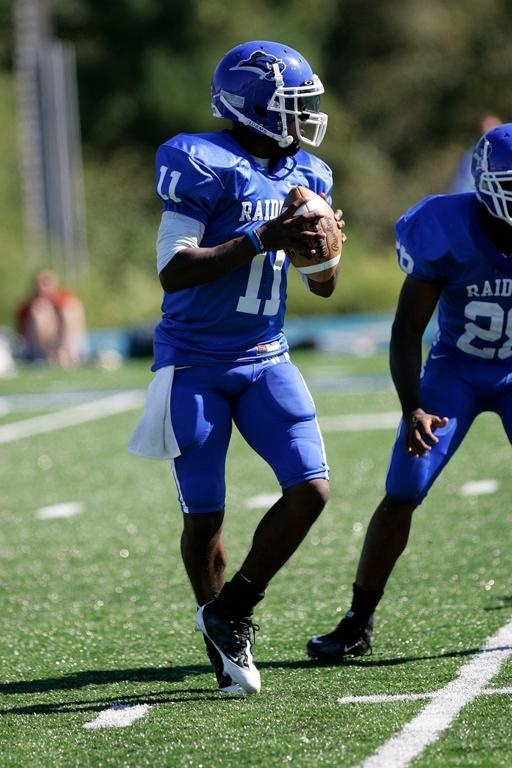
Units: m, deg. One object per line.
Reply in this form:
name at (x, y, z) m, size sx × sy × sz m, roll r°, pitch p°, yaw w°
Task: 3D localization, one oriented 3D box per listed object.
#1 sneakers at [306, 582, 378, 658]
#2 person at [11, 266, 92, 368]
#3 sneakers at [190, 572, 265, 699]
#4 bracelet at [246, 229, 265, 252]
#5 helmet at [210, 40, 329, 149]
sneakers at (0.247, 0.674, 2.648) m, size 0.266 × 0.208 × 0.101 m, roll 10°, pitch 1°, yaw -43°
person at (-1.815, -0.593, 8.252) m, size 0.624 × 0.872 × 0.379 m, roll -1°, pitch 11°, yaw 1°
sneakers at (-0.047, 0.622, 2.392) m, size 0.147 × 0.217 × 0.221 m, roll -5°, pitch -3°, yaw -18°
bracelet at (-0.003, -0.353, 2.297) m, size 0.024 × 0.051 × 0.049 m, roll -30°, pitch 7°, yaw -15°
helmet at (0.043, -0.787, 2.567) m, size 0.345 × 0.221 × 0.262 m, roll 11°, pitch 23°, yaw 8°
